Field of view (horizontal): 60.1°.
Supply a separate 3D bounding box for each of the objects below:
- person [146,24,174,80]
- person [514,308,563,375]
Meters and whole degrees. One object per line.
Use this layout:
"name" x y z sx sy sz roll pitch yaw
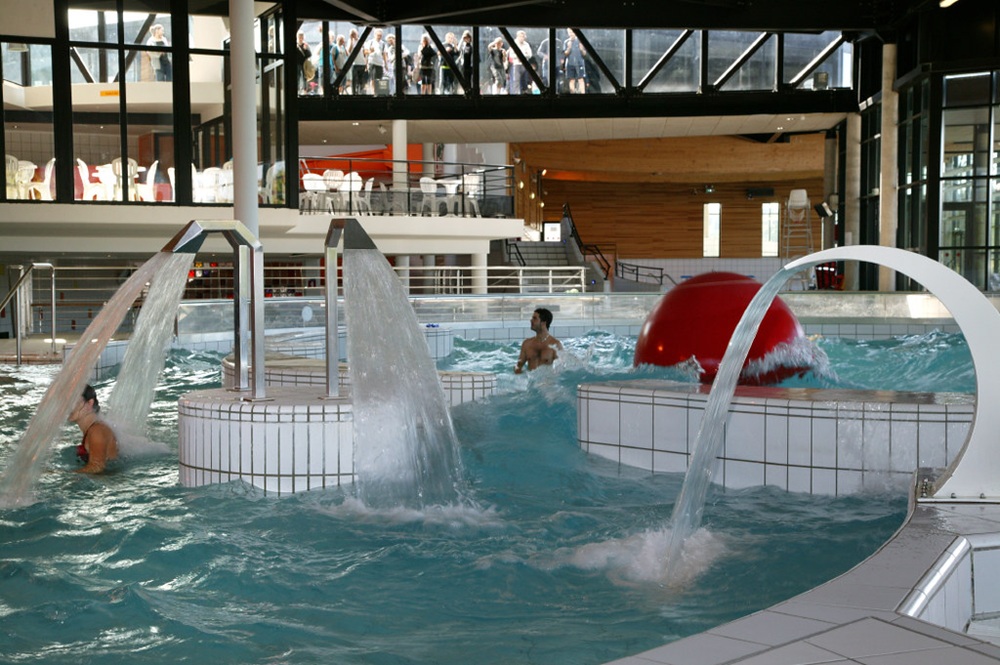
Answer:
"person" -5.693 -4.652 14.409 0.370 0.938 0.211 -2 11 -11
"person" 0.434 0.059 9.484 0.474 0.726 0.549 1 11 9
